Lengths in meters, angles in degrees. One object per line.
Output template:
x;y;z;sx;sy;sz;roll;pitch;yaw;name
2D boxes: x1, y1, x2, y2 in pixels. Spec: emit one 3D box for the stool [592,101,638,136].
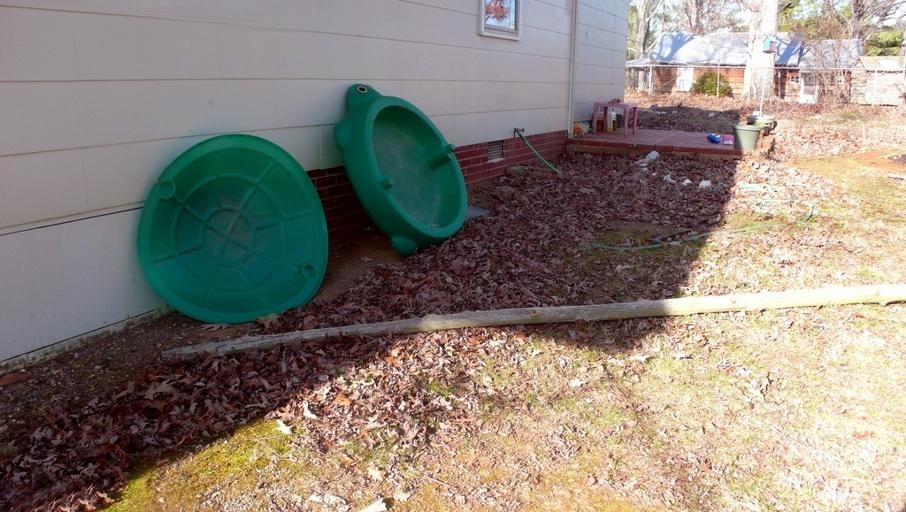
3.637;-3.125;11.857;0.979;0.578;0.975;-17;28;-37;stool
